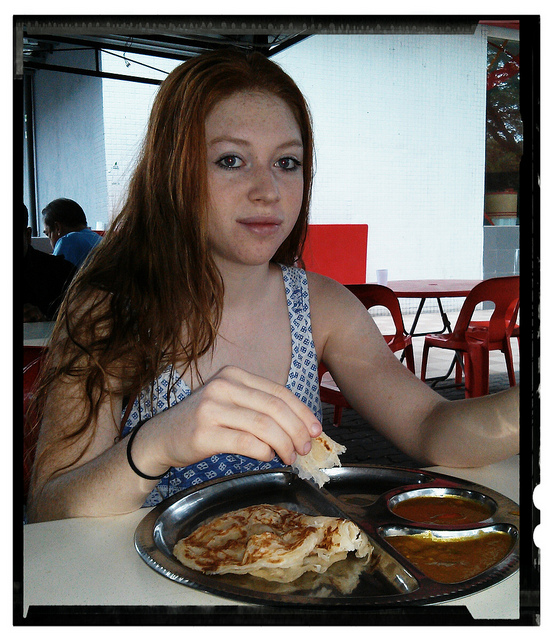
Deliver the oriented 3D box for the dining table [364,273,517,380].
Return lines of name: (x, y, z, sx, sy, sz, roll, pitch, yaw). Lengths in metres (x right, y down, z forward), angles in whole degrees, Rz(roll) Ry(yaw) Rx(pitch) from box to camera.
dining table: (1.314, 0.203, 4.841, 0.802, 1.277, 0.739, -14, -1, 2)
